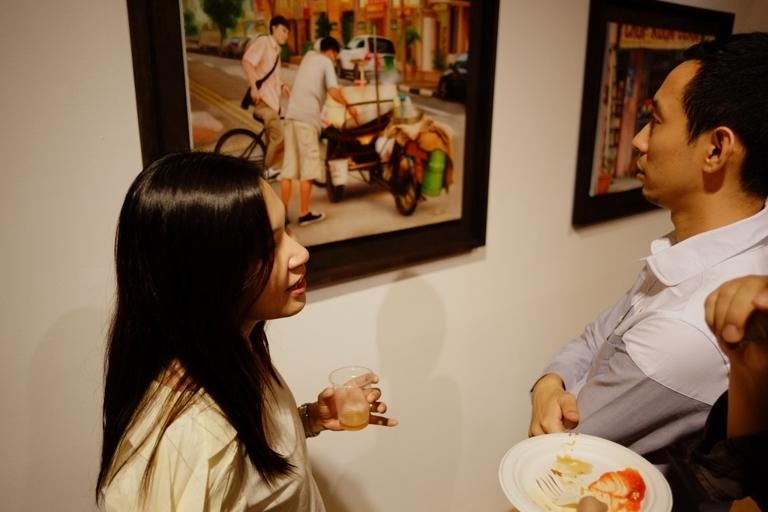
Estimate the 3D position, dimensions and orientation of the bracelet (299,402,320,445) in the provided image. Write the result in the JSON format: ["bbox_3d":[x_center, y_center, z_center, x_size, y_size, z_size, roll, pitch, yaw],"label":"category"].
[{"bbox_3d":[-0.239,0.503,1.762,0.060,0.121,0.110,-15,47,-6],"label":"bracelet"}]

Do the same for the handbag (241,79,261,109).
[{"bbox_3d":[-0.412,-0.504,1.734,0.042,0.108,0.033,22,6,0],"label":"handbag"}]

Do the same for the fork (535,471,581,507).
[{"bbox_3d":[0.427,0.583,1.399,0.045,0.016,0.089,-15,36,-26],"label":"fork"}]
